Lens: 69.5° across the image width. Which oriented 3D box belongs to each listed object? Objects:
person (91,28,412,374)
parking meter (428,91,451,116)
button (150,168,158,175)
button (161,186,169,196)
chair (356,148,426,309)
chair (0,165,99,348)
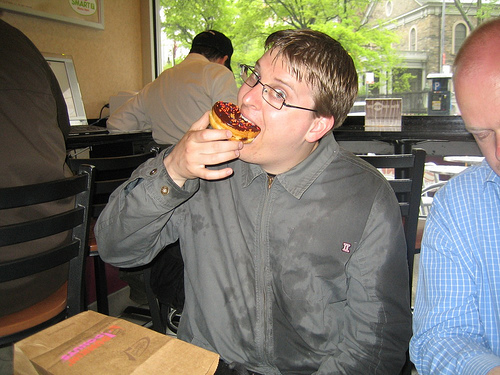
[{"bbox_3d":[0.065,0.016,1.274,1.023,1.152,0.462,5,13,12],"label":"person"},{"bbox_3d":[2.256,-0.994,4.257,0.222,0.404,0.220,7,27,37],"label":"parking meter"},{"bbox_3d":[-0.325,-0.054,1.208,0.017,0.005,0.017,33,74,26],"label":"button"},{"bbox_3d":[-0.281,0.010,1.185,0.027,0.027,0.006,6,-2,6],"label":"button"},{"bbox_3d":[0.816,0.227,2.098,0.348,0.931,0.491,9,14,25],"label":"chair"},{"bbox_3d":[-0.910,0.247,1.578,0.354,0.696,0.442,12,16,36],"label":"chair"}]
